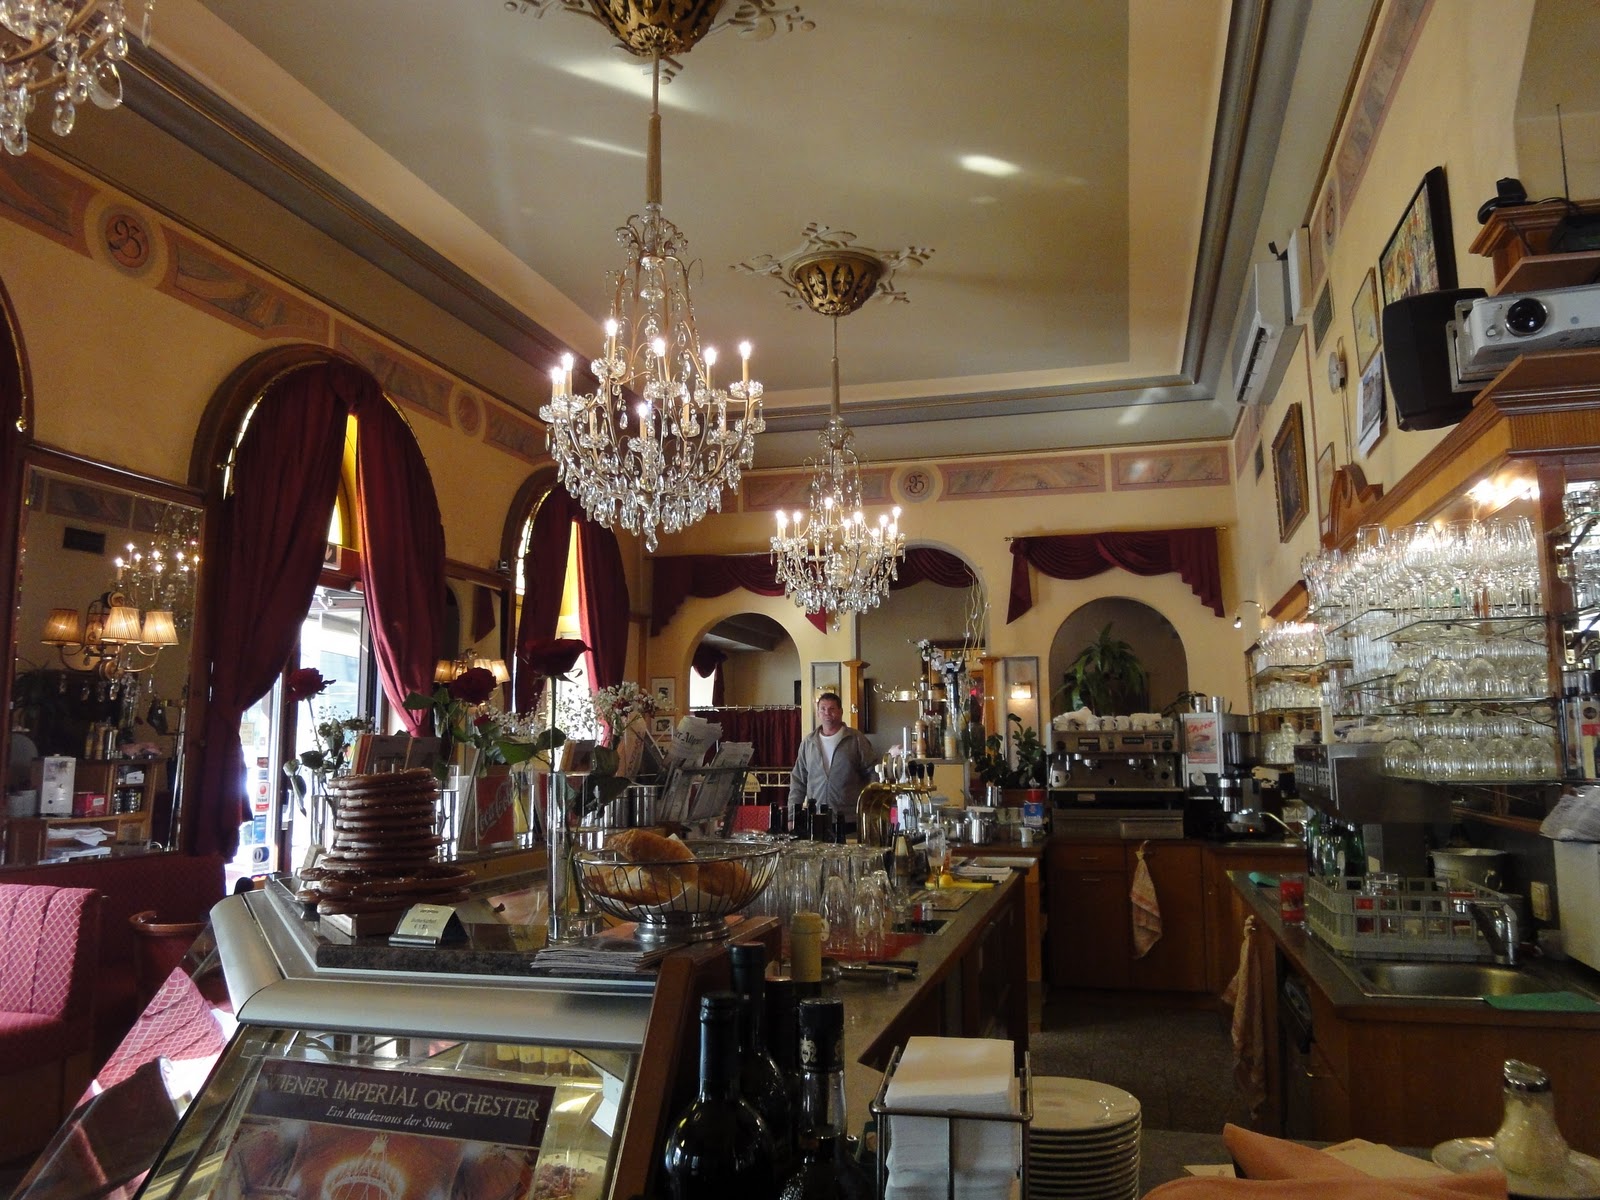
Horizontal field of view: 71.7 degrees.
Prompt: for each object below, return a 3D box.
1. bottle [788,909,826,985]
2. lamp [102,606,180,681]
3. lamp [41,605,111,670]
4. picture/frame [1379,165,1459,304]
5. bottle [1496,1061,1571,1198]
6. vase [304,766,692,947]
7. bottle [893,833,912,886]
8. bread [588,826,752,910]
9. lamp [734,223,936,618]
[{"bbox_3d":[0.008,0.593,1.878,0.083,0.162,0.090,0,-14,0],"label":"bottle"},{"bbox_3d":[-3.380,0.187,5.748,0.236,0.432,0.398,-3,-3,13],"label":"lamp"},{"bbox_3d":[-3.524,0.170,5.415,0.170,0.379,0.249,0,-10,0],"label":"lamp"},{"bbox_3d":[2.319,-1.289,4.192,0.093,0.525,0.749,-4,-8,16],"label":"picture/frame"},{"bbox_3d":[1.144,0.823,1.749,0.102,0.165,0.247,-7,-9,35],"label":"bottle"},{"bbox_3d":[-0.669,0.558,2.433,0.421,0.345,0.451,0,-15,-3],"label":"vase"},{"bbox_3d":[0.363,0.929,3.988,0.123,0.165,0.134,1,-8,0],"label":"bottle"},{"bbox_3d":[-0.225,0.450,1.944,0.150,0.098,0.148,-6,-14,35],"label":"bread"},{"bbox_3d":[0.289,-1.502,8.913,1.834,3.500,1.992,0,-12,-2],"label":"lamp"}]
